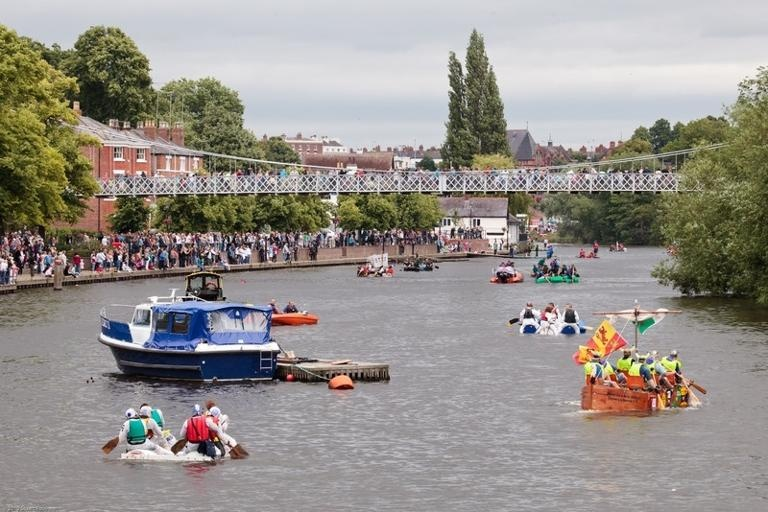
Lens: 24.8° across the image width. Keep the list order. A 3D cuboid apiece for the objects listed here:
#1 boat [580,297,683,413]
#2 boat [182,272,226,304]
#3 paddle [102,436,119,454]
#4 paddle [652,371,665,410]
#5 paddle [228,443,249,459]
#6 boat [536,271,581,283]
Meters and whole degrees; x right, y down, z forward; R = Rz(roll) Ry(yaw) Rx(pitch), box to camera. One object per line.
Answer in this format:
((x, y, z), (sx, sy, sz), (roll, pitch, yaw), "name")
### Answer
((15.583, 6.406, 108.487), (4.153, 6.793, 12.322), (4, 7, 32), "boat")
((-12.689, 2.437, 123.861), (2.752, 2.520, 4.075), (1, 4, -6), "boat")
((-15.361, 10.640, 98.956), (0.623, 1.207, 0.246), (48, 17, 20), "paddle")
((16.559, 8.127, 105.077), (0.537, 1.728, 0.828), (1, 14, 3), "paddle")
((-8.273, 10.966, 98.778), (0.750, 0.518, 1.243), (1, 3, -1), "paddle")
((16.257, 2.085, 164.960), (4.131, 0.661, 1.936), (-3, 13, -13), "boat")
